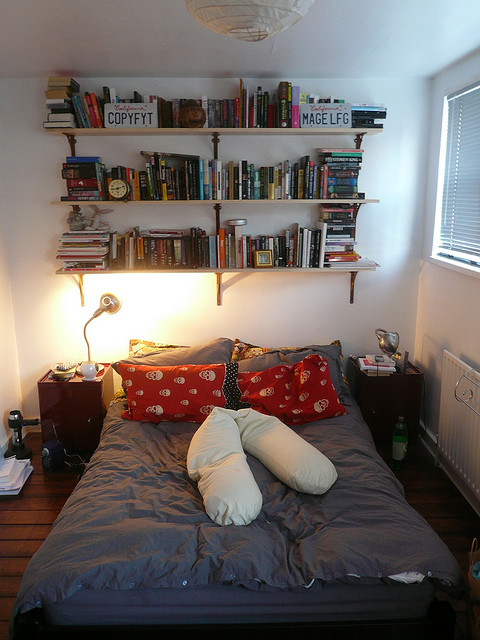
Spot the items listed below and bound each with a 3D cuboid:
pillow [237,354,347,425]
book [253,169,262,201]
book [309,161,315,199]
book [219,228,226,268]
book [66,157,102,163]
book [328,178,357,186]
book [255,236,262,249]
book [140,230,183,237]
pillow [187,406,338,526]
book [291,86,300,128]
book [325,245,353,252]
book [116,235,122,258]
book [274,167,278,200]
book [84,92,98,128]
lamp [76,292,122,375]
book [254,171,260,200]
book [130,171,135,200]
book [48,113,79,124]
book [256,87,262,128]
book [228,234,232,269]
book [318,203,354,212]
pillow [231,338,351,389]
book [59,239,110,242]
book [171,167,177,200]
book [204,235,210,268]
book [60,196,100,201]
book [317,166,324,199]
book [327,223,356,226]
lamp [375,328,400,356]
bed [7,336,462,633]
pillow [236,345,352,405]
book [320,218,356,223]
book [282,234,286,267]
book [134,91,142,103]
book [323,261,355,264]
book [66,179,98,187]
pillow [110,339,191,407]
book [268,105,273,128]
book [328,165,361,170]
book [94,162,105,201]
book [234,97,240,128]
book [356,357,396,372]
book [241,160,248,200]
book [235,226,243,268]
[{"bbox_3d":[0.277,0.382,2.606,0.462,0.184,0.383,-3,41,-12],"label":"pillow"},{"bbox_3d":[0.101,-0.803,2.877,0.068,0.161,0.024,-6,12,-26],"label":"book"},{"bbox_3d":[0.419,-0.825,2.865,0.031,0.202,0.020,-2,10,-7],"label":"book"},{"bbox_3d":[-0.113,-0.432,2.952,0.030,0.225,0.030,0,10,3],"label":"book"},{"bbox_3d":[-0.908,-0.925,2.812,0.182,0.031,0.087,-4,11,-20],"label":"book"},{"bbox_3d":[0.604,-0.821,2.893,0.170,0.044,0.024,-3,11,-15],"label":"book"},{"bbox_3d":[0.104,-0.469,2.960,0.043,0.071,0.050,-3,11,-11],"label":"book"},{"bbox_3d":[-0.481,-0.517,2.940,0.264,0.032,0.091,1,10,7],"label":"book"},{"bbox_3d":[0.051,0.573,2.057,0.550,0.178,0.659,-9,18,-17],"label":"pillow"},{"bbox_3d":[0.309,-1.193,2.730,0.048,0.205,0.048,0,10,1],"label":"book"},{"bbox_3d":[0.599,-0.438,2.975,0.172,0.042,0.005,-2,10,-8],"label":"book"},{"bbox_3d":[-0.739,-0.442,2.945,0.033,0.127,0.021,1,10,6],"label":"book"},{"bbox_3d":[0.209,-0.803,2.875,0.019,0.170,0.029,0,10,5],"label":"book"},{"bbox_3d":[-0.846,-1.184,2.757,0.058,0.180,0.025,-3,11,-14],"label":"book"},{"bbox_3d":[-0.903,0.070,3.101,0.304,0.509,0.323,-3,11,-13],"label":"lamp"},{"bbox_3d":[0.097,-0.798,2.871,0.038,0.153,0.015,-5,11,-25],"label":"book"},{"bbox_3d":[-0.637,-0.793,2.866,0.027,0.159,0.035,-3,11,-11],"label":"book"},{"bbox_3d":[-0.990,-1.138,2.735,0.166,0.057,0.077,-7,12,-33],"label":"book"},{"bbox_3d":[0.103,-1.203,2.746,0.027,0.214,0.030,-5,11,-23],"label":"book"},{"bbox_3d":[-0.067,-0.420,2.967,0.019,0.192,0.030,-5,11,-21],"label":"book"},{"bbox_3d":[0.589,-0.694,3.006,0.220,0.056,0.128,1,10,10],"label":"book"},{"bbox_3d":[0.205,0.261,3.078,0.455,0.124,0.381,0,30,2],"label":"pillow"},{"bbox_3d":[-0.923,-0.470,2.893,0.271,0.015,0.083,-2,10,-11],"label":"book"},{"bbox_3d":[-0.391,-0.793,2.838,0.027,0.175,0.019,6,13,34],"label":"book"},{"bbox_3d":[-0.204,-0.409,2.940,0.032,0.183,0.018,-1,10,-3],"label":"book"},{"bbox_3d":[-0.935,-0.709,2.841,0.216,0.027,0.049,-2,10,-10],"label":"book"},{"bbox_3d":[0.474,-0.813,2.873,0.035,0.182,0.011,3,11,20],"label":"book"},{"bbox_3d":[0.622,-0.588,2.990,0.177,0.016,0.026,-3,11,-15],"label":"book"},{"bbox_3d":[0.911,0.148,3.036,0.130,0.164,0.165,3,11,21],"label":"lamp"},{"bbox_3d":[-0.017,0.554,2.090,1.599,0.475,1.601,-3,10,-12],"label":"bed"},{"bbox_3d":[0.337,0.322,2.921,0.458,0.126,0.397,0,25,-2],"label":"pillow"},{"bbox_3d":[0.598,-0.616,3.003,0.211,0.030,0.093,1,10,8],"label":"book"},{"bbox_3d":[0.266,-0.420,2.974,0.021,0.188,0.040,1,10,7],"label":"book"},{"bbox_3d":[-0.584,-1.266,2.769,0.044,0.072,0.070,-3,11,-12],"label":"book"},{"bbox_3d":[0.606,-0.351,2.971,0.187,0.013,0.040,-1,10,0],"label":"book"},{"bbox_3d":[-0.924,-0.797,2.832,0.182,0.044,0.015,0,10,3],"label":"book"},{"bbox_3d":[-0.595,0.324,3.124,0.462,0.129,0.385,-2,28,-15],"label":"pillow"},{"bbox_3d":[0.172,-1.175,2.804,0.024,0.124,0.038,8,13,39],"label":"book"},{"bbox_3d":[0.615,-0.905,2.883,0.198,0.026,0.022,-2,10,-8],"label":"book"},{"bbox_3d":[-0.825,-0.806,2.831,0.019,0.210,0.040,8,13,38],"label":"book"},{"bbox_3d":[-0.021,-1.174,2.757,0.034,0.159,0.018,2,11,12],"label":"book"},{"bbox_3d":[0.821,0.283,2.974,0.234,0.068,0.133,4,11,24],"label":"book"},{"bbox_3d":[0.024,-0.815,2.845,0.036,0.215,0.031,0,10,3],"label":"book"},{"bbox_3d":[-0.009,-0.441,2.941,0.037,0.246,0.043,-2,11,-9],"label":"book"}]
